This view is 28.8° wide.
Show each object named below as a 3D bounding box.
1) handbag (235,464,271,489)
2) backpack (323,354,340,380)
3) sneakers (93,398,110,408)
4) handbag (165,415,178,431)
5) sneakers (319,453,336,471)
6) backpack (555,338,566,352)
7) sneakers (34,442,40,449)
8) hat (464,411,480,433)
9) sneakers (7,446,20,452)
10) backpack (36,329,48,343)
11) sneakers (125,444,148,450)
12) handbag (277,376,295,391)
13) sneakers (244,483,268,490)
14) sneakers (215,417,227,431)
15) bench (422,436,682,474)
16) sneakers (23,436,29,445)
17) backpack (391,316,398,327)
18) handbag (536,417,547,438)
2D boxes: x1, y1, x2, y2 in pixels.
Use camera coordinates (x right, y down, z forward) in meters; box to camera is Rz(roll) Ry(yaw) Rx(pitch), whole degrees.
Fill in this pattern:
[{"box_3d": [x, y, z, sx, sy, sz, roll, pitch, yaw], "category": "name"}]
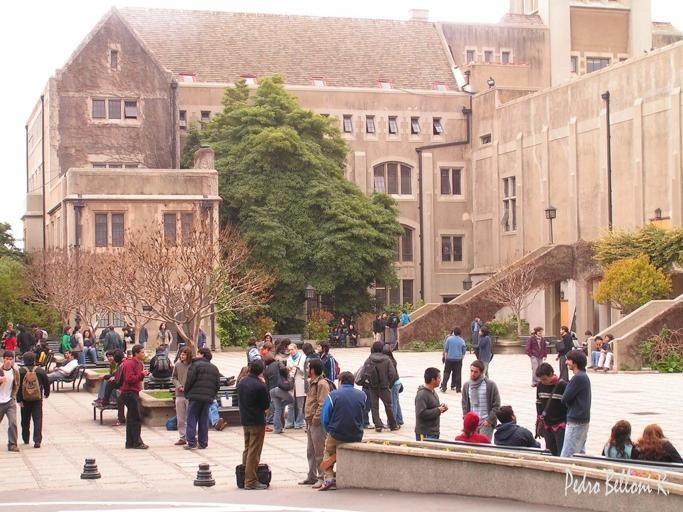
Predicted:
[{"box_3d": [-2.198, 5.387, 32.790, 0.797, 0.625, 0.540, 0, 5, -2], "category": "handbag"}, {"box_3d": [-0.332, 3.153, 37.491, 0.288, 0.723, 1.018, 0, -6, 14], "category": "backpack"}, {"box_3d": [-7.155, 4.350, 39.236, 0.602, 0.288, 0.208, 4, 1, 18], "category": "sneakers"}, {"box_3d": [-4.942, 4.856, 38.471, 0.216, 0.301, 0.418, 12, 21, -6], "category": "handbag"}, {"box_3d": [-0.348, 5.019, 32.421, 0.200, 0.606, 0.229, 39, 12, 20], "category": "sneakers"}, {"box_3d": [7.248, 2.969, 44.116, 0.381, 0.600, 0.312, -2, 3, 7], "category": "backpack"}, {"box_3d": [-8.313, 5.150, 36.227, 0.150, 0.154, 0.327, 2, 1, -12], "category": "sneakers"}, {"box_3d": [3.126, 4.047, 32.006, 0.309, 0.481, 0.372, 5, -28, 1], "category": "hat"}, {"box_3d": [-8.881, 5.217, 35.934, 0.325, 0.144, 0.113, -3, 0, 28], "category": "sneakers"}, {"box_3d": [-12.298, 3.301, 54.298, 0.323, 0.580, 0.557, -5, -1, 14], "category": "backpack"}, {"box_3d": [-5.562, 5.147, 36.048, 0.593, 0.159, 0.211, 3, -6, -10], "category": "sneakers"}, {"box_3d": [-1.607, 3.673, 37.784, 0.317, 0.638, 0.504, -8, -6, 10], "category": "handbag"}, {"box_3d": [-2.115, 5.612, 32.631, 0.495, 0.228, 0.200, -1, -1, -4], "category": "sneakers"}, {"box_3d": [-3.513, 4.853, 38.343, 0.157, 0.205, 0.519, 7, -49, -14], "category": "sneakers"}, {"box_3d": [5.566, 4.506, 30.611, 3.294, 0.506, 0.079, 5, -7, 21], "category": "bench"}, {"box_3d": [-8.724, 5.085, 36.702, 0.195, 0.248, 0.206, 1, -7, -8], "category": "sneakers"}, {"box_3d": [2.391, 3.058, 61.481, 0.318, 0.592, 0.425, -3, -1, 41], "category": "backpack"}, {"box_3d": [4.910, 4.217, 32.890, 0.206, 0.498, 0.414, 1, -5, 7], "category": "handbag"}]
